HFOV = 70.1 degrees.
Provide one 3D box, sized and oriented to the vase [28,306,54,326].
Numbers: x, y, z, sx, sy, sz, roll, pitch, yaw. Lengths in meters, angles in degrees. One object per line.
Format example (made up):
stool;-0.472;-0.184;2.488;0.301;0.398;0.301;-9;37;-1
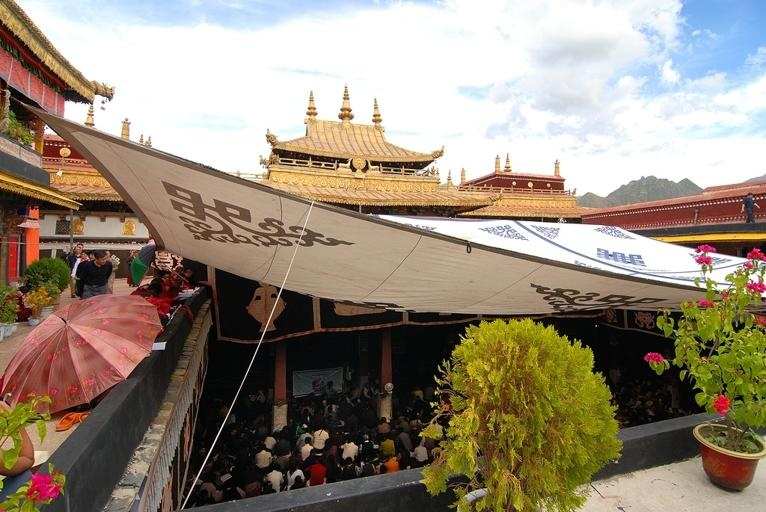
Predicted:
vase;-6.220;1.069;9.921;0.322;0.244;0.326;1;-1;9

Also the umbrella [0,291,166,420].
umbrella;-3.504;1.106;6.461;1.500;1.367;0.708;4;-9;-1

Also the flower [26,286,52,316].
flower;-6.225;0.823;9.865;0.407;0.410;0.345;11;15;-13

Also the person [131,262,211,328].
person;-3.547;0.581;9.124;0.966;0.500;1.269;4;-28;-5

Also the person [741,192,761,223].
person;11.113;-1.461;16.513;0.418;1.105;1.167;-2;-11;34
